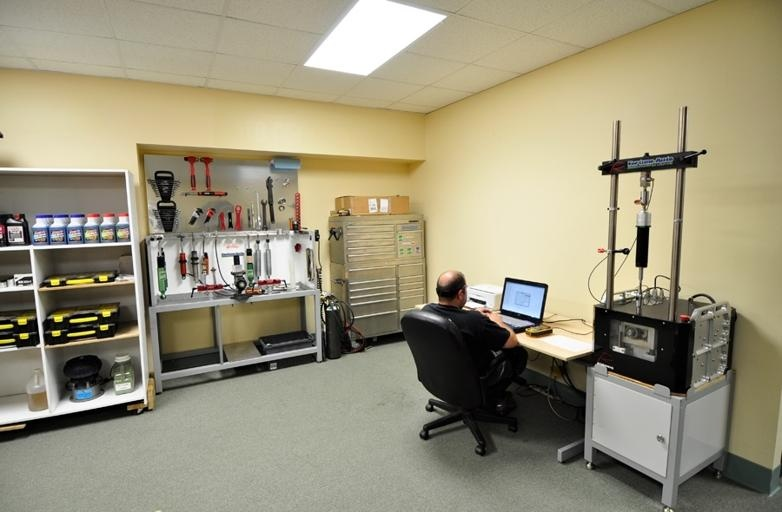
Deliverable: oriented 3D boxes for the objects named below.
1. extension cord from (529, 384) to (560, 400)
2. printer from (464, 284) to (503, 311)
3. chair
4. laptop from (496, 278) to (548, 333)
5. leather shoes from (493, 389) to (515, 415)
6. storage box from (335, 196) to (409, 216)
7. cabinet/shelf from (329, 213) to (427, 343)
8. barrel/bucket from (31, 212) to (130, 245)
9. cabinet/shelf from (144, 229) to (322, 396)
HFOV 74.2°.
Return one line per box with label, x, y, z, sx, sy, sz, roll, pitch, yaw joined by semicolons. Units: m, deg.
extension cord;1.465;1.303;4.984;0.171;0.048;0.105;16;22;36
printer;0.930;0.386;5.079;0.221;0.127;0.292;9;15;39
chair;0.605;0.979;4.375;0.946;1.013;0.880;-3;6;-22
laptop;1.223;0.418;4.787;0.444;0.348;0.507;-6;11;-36
leather shoes;1.005;1.301;4.581;0.149;0.159;0.421;0;9;18
storage box;-0.206;-0.611;6.161;0.882;0.218;0.312;-2;7;-9
cabinet/shelf;-0.126;0.243;6.268;1.163;1.510;0.360;-3;7;-17
barrel/bucket;-2.764;-0.250;4.640;0.774;0.264;0.327;-4;7;-28
cabinet/shelf;-1.725;0.580;5.535;1.680;1.394;0.541;-3;4;-30
